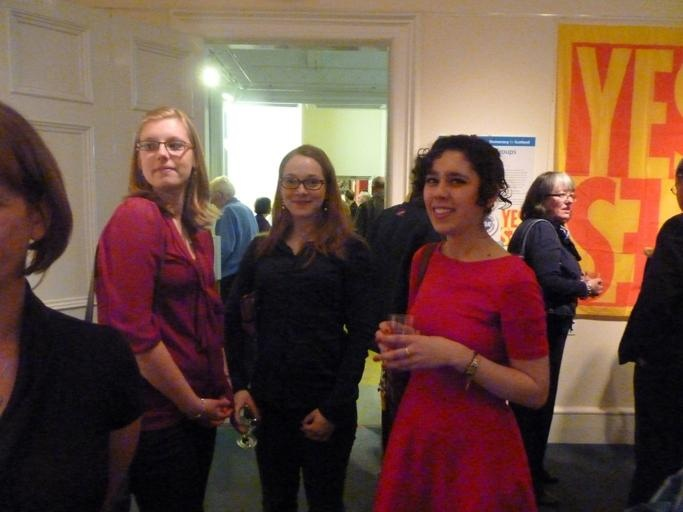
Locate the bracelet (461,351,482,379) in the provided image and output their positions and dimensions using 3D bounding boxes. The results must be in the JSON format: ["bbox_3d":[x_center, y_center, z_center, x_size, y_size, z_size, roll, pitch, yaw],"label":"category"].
[{"bbox_3d":[0.427,0.359,1.803,0.060,0.084,0.081,23,19,8],"label":"bracelet"}]

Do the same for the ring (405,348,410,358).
[{"bbox_3d":[0.212,0.322,1.761,0.006,0.019,0.020,1,3,-14],"label":"ring"}]

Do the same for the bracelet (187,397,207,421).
[{"bbox_3d":[-0.523,0.555,1.954,0.060,0.028,0.067,-24,41,33],"label":"bracelet"}]
